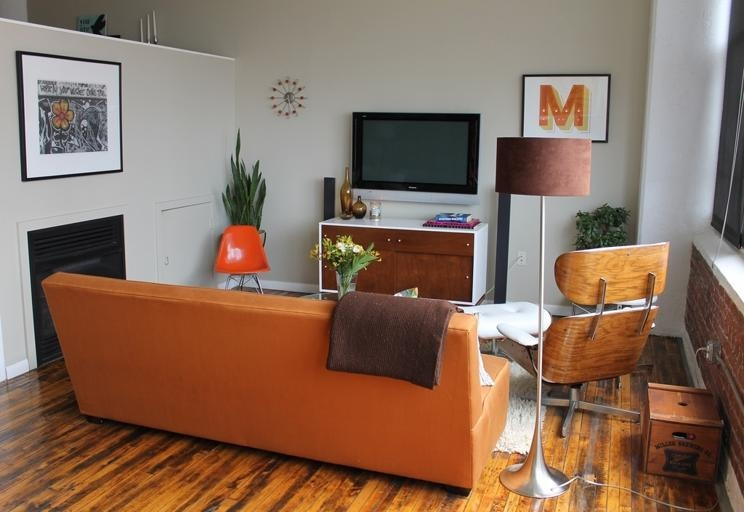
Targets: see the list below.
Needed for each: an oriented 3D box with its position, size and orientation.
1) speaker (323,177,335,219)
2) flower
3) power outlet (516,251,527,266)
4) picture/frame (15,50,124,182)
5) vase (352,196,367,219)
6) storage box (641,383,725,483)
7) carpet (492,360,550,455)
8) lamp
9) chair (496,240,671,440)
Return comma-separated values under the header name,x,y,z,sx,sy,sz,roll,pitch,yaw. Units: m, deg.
name,x,y,z,sx,sy,sz,roll,pitch,yaw
speaker,-0.505,-0.699,6.194,0.167,0.484,0.132,-4,13,-5
flower,-0.160,-0.004,4.380,0.612,0.589,0.585,-4,6,-36
power outlet,1.674,0.010,5.783,0.129,0.210,0.021,5,12,21
picture/frame,-2.627,-1.213,4.533,0.061,1.008,0.989,4,15,28
vase,-0.144,-0.572,6.020,0.204,0.303,0.225,1,-1,5
storage box,1.908,1.125,3.308,0.439,0.368,0.484,3,11,23
carpet,0.996,1.025,3.466,0.492,0.247,0.687,3,7,16
lamp,1.015,0.308,3.154,0.499,2.032,0.847,3,14,22
chair,1.560,0.517,3.931,0.941,1.401,1.206,-5,11,-5
